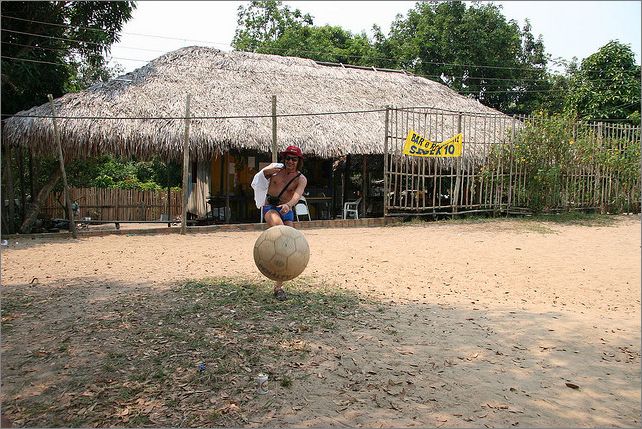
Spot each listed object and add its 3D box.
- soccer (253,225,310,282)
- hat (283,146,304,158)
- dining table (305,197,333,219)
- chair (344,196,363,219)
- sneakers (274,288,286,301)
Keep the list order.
[{"bbox_3d":[-0.584,0.591,7.758,0.849,0.851,0.800,12,22,36],"label":"soccer"},{"bbox_3d":[-0.433,-1.025,8.184,0.232,0.094,0.229,14,-1,-32],"label":"hat"},{"bbox_3d":[-0.200,-0.245,16.607,1.042,0.908,0.672,-1,3,-24],"label":"dining table"},{"bbox_3d":[0.992,-0.212,16.154,0.723,0.881,0.699,1,0,-1],"label":"chair"},{"bbox_3d":[-0.628,1.235,7.727,0.132,0.088,0.201,1,-1,-19],"label":"sneakers"}]
